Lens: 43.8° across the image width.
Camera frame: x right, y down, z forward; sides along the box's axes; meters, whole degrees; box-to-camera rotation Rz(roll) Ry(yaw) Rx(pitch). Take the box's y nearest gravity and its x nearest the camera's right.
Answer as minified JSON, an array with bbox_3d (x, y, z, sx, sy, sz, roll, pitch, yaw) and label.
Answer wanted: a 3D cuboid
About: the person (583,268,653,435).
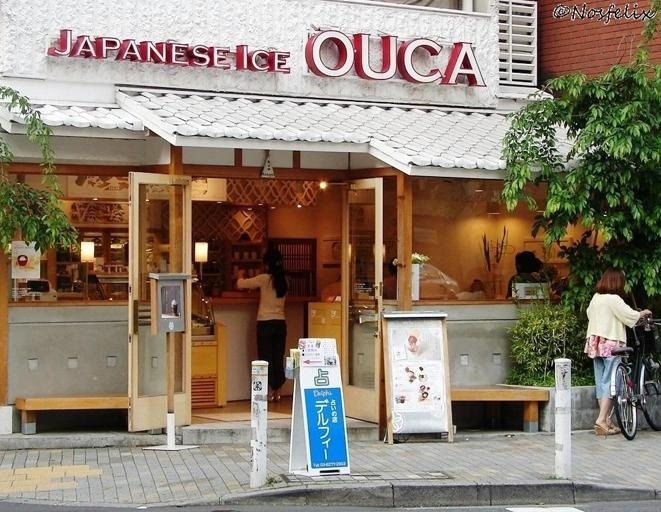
[{"bbox_3d":[3.648,1.251,10.681,0.379,2.154,0.607,2,-8,-40],"label":"person"}]

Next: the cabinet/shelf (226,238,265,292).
[{"bbox_3d":[-1.634,0.039,15.793,0.501,0.253,0.858,9,-43,-4],"label":"cabinet/shelf"}]

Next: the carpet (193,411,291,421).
[{"bbox_3d":[-1.208,2.208,11.192,1.289,0.108,0.773,-2,-6,-6],"label":"carpet"}]

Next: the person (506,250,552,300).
[{"bbox_3d":[2.970,0.248,12.287,0.760,0.970,0.561,1,0,13],"label":"person"}]

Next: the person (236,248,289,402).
[{"bbox_3d":[-0.995,1.046,12.691,0.661,2.336,1.140,-2,-6,-5],"label":"person"}]

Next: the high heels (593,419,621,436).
[{"bbox_3d":[3.591,2.252,10.658,0.366,0.148,0.135,-1,0,-5],"label":"high heels"}]
